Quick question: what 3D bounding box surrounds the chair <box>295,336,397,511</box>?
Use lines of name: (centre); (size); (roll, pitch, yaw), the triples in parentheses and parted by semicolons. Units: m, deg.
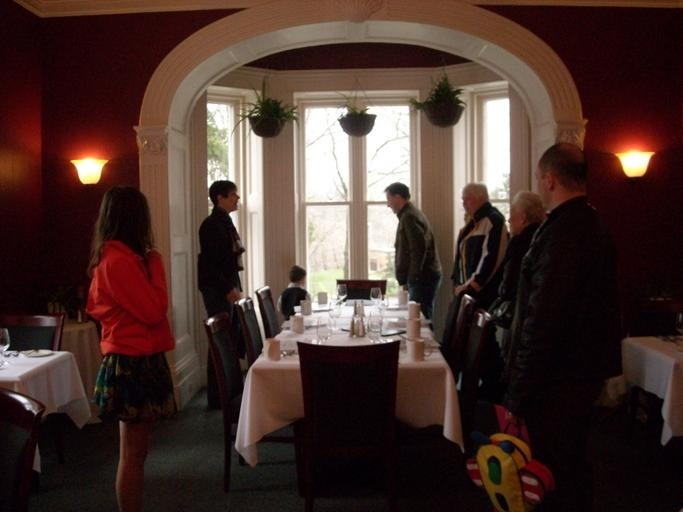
chair: (0.045, 0.931, 3.158); (0.544, 0.956, 0.306); (-2, 4, -6)

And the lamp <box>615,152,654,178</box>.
lamp: (2.622, -0.836, 4.972); (0.264, 0.193, 0.234); (0, -1, -1)

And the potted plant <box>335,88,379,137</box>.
potted plant: (0.167, -1.479, 5.712); (0.455, 0.518, 0.486); (-7, 9, -7)

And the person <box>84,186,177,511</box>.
person: (-1.179, 0.519, 3.124); (0.456, 1.827, 0.276); (-3, 4, -13)

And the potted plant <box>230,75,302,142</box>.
potted plant: (-0.708, -1.459, 5.555); (0.665, 0.539, 0.668); (17, 25, 36)

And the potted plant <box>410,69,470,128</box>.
potted plant: (0.985, -1.490, 5.661); (0.566, 0.655, 0.629); (-3, 6, -12)

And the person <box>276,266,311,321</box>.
person: (-0.465, 0.420, 5.279); (0.295, 0.899, 0.299); (1, 42, -5)

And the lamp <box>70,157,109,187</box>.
lamp: (-2.280, -0.784, 5.117); (0.257, 0.191, 0.249); (-1, -1, 5)
